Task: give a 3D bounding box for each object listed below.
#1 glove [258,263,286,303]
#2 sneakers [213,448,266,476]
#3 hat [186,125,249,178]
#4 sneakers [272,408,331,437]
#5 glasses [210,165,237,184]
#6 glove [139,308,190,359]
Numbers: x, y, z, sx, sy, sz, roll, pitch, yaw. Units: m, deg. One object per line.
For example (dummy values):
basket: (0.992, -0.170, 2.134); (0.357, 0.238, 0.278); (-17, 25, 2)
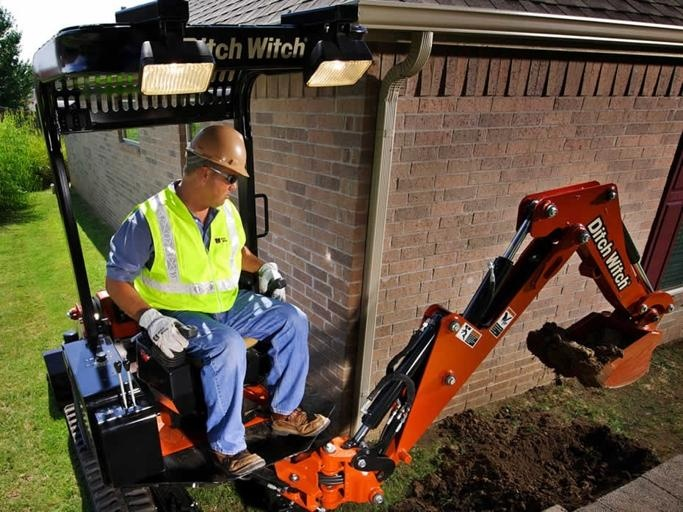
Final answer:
glove: (-0.596, 0.238, 4.391); (0.203, 0.165, 0.348); (-30, 72, -16)
sneakers: (-0.738, 1.520, 3.753); (0.373, 0.185, 0.169); (-3, 14, 6)
hat: (-0.949, -0.842, 3.881); (0.409, 0.250, 0.342); (25, 12, -10)
sneakers: (-0.316, 1.351, 4.064); (0.454, 0.248, 0.198); (-4, 21, -1)
glasses: (-0.891, -0.613, 3.838); (0.134, 0.043, 0.114); (34, 10, 2)
glove: (-1.267, 0.534, 3.570); (0.279, 0.107, 0.362); (-33, 81, -22)
